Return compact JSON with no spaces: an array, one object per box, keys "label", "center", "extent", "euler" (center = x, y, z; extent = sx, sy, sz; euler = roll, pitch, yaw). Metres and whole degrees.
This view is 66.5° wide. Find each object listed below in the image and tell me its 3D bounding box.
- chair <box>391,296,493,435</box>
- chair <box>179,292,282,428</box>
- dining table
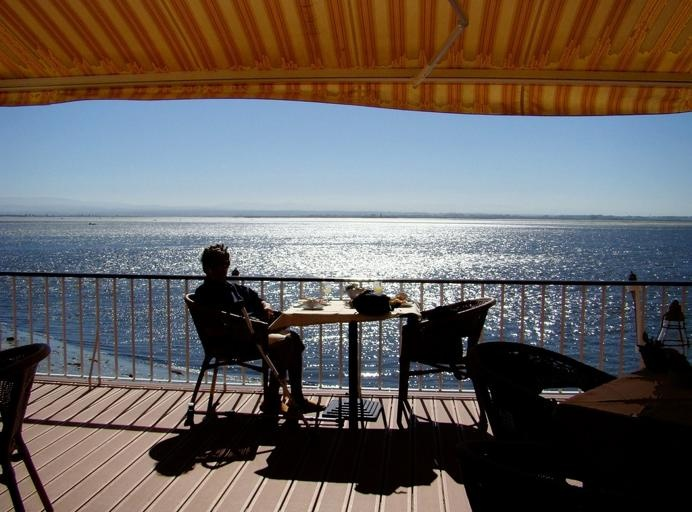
[{"label":"chair","center":[0.837,0.897,4.840],"extent":[0.988,1.291,1.075],"euler":[1,-4,5]},{"label":"chair","center":[-1.033,0.856,4.783],"extent":[1.020,1.315,1.002],"euler":[-3,-5,-4]},{"label":"dining table","center":[-0.007,0.902,4.653],"extent":[1.059,0.805,1.003],"euler":[-1,7,-2]}]
